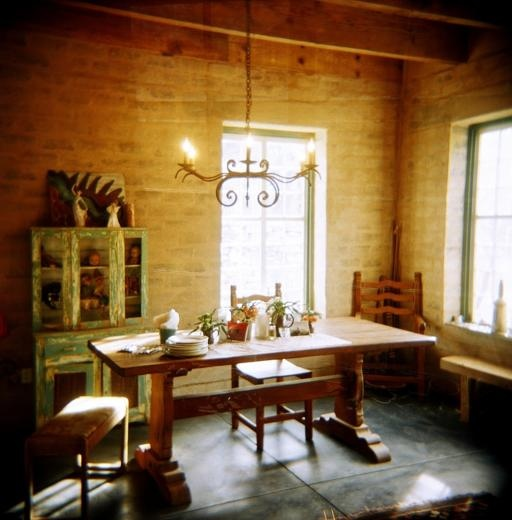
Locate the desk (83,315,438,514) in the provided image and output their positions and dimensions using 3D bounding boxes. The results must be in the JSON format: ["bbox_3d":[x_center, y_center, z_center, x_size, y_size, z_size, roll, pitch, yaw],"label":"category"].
[{"bbox_3d":[0.061,0.973,3.546,2.204,0.880,0.793,-2,5,-24],"label":"desk"}]

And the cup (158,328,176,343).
[{"bbox_3d":[-0.581,0.492,3.318,0.113,0.077,0.086,0,2,-5],"label":"cup"}]

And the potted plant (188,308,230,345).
[{"bbox_3d":[-0.328,0.452,3.568,0.299,0.224,0.276,-1,4,-17],"label":"potted plant"}]

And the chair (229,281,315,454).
[{"bbox_3d":[0.102,0.808,4.062,0.626,1.128,0.666,3,1,-35],"label":"chair"}]

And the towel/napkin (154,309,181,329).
[{"bbox_3d":[-0.609,0.393,3.395,0.144,0.110,0.163,2,-9,-39],"label":"towel/napkin"}]

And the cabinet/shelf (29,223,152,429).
[{"bbox_3d":[-1.249,0.546,4.085,0.956,1.551,0.426,-4,0,-1],"label":"cabinet/shelf"}]

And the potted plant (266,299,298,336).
[{"bbox_3d":[0.198,0.422,3.687,0.266,0.282,0.210,1,-13,1],"label":"potted plant"}]

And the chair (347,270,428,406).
[{"bbox_3d":[1.285,0.690,4.961,0.748,1.096,0.614,-1,-1,19],"label":"chair"}]
